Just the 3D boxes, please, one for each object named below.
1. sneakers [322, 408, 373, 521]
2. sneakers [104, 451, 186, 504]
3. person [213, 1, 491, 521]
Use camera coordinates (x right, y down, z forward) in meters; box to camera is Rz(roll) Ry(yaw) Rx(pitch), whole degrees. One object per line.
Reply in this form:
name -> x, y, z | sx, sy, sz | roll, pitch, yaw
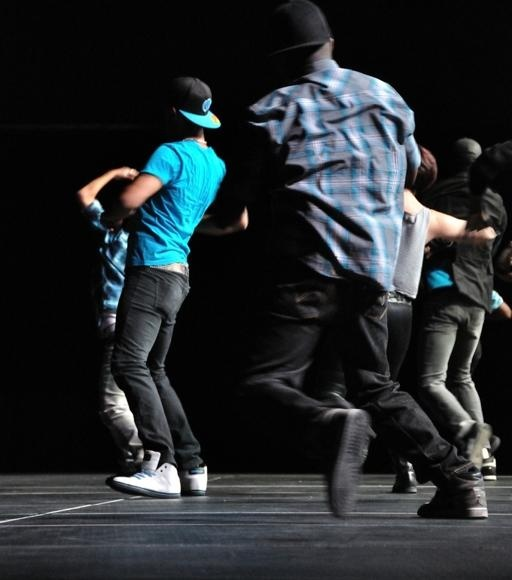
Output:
sneakers -> 0.189, 0.365, 1.542 | 0.105, 0.210, 0.108 | 6, -15, -12
sneakers -> -0.361, 0.605, 2.434 | 0.337, 0.149, 0.102 | 9, -25, -7
person -> 0.247, -0.050, 1.741 | 0.608, 1.254, 0.674 | -1, 18, -11
